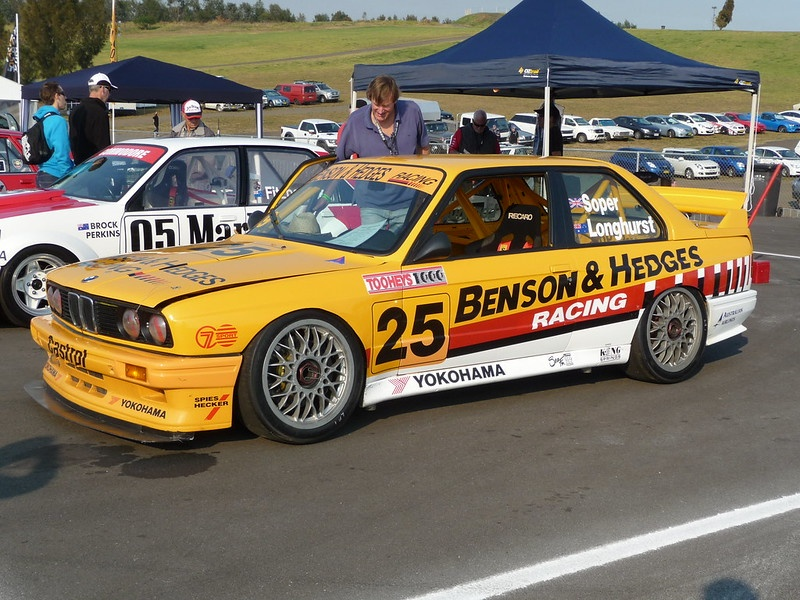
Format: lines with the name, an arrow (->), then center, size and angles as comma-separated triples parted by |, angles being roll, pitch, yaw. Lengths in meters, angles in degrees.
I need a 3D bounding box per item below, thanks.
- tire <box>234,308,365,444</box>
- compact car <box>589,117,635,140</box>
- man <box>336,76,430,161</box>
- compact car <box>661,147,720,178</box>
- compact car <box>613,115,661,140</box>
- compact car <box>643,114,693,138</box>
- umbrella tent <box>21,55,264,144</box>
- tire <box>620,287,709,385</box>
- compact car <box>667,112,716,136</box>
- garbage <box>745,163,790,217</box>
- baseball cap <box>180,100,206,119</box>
tire -> -0.668, 0.436, 4.445 | 0.876, 0.871, 0.307 | 2, -1, -32
compact car -> 13.821, -11.099, 45.353 | 1.492, 0.949, 2.897 | -9, 15, -30
man -> -0.200, -1.810, 7.419 | 1.060, 1.075, 0.533 | -10, 39, -10
compact car -> 13.122, -6.103, 31.109 | 1.388, 1.118, 2.933 | -8, 12, -19
compact car -> 15.951, -11.723, 47.324 | 1.424, 1.128, 3.337 | -12, 19, -39
compact car -> 18.512, -12.088, 48.734 | 1.565, 1.190, 3.612 | -16, 24, -39
umbrella tent -> -5.334, -4.641, 15.135 | 3.363, 2.012, 3.328 | -3, 14, -13
tire -> 2.497, 0.245, 6.054 | 0.465, 0.852, 0.851 | 13, -2, -15
compact car -> 21.273, -12.726, 50.542 | 1.679, 1.269, 2.973 | -16, 23, -39
garbage -> 10.438, -3.117, 19.794 | 1.444, 1.350, 1.428 | -3, 15, -20
baseball cap -> -2.922, -2.630, 9.827 | 0.360, 0.301, 0.511 | -7, 16, -24
